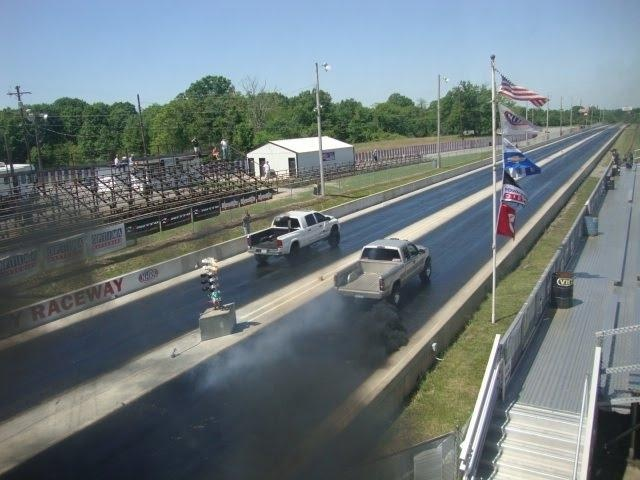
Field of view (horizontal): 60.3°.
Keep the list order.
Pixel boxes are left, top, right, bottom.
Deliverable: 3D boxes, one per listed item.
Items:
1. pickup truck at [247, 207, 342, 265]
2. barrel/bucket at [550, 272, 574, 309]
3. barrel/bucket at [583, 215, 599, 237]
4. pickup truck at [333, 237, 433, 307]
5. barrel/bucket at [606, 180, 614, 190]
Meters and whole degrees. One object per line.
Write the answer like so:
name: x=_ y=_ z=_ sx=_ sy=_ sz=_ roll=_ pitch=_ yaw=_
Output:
pickup truck: x=-1.366 y=-0.233 z=29.774 sx=1.706 sy=2.522 sz=5.698 roll=7 pitch=18 yaw=40
barrel/bucket: x=9.014 y=1.857 z=20.557 sx=0.686 sy=1.291 sz=0.496 roll=1 pitch=13 yaw=23
barrel/bucket: x=14.546 y=-0.771 z=29.702 sx=0.641 sy=1.064 sz=0.603 roll=-4 pitch=12 yaw=1
pickup truck: x=2.661 y=1.401 z=23.087 sx=1.896 sy=2.259 sz=5.186 roll=5 pitch=16 yaw=34
barrel/bucket: x=23.010 y=-4.426 z=43.971 sx=0.669 sy=0.796 sz=0.400 roll=1 pitch=-9 yaw=-9
